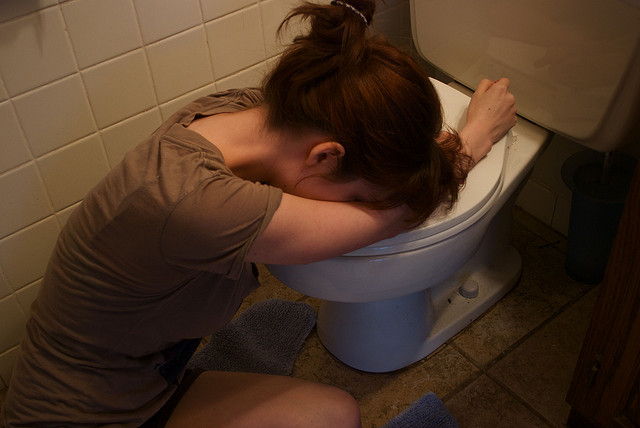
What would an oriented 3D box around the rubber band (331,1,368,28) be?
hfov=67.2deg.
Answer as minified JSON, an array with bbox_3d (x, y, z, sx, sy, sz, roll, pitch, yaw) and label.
[{"bbox_3d":[0.048,-0.330,0.783,0.049,0.013,0.041,37,24,-10],"label":"rubber band"}]

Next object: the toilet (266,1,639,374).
[{"bbox_3d":[0.299,-0.048,1.068,0.648,0.717,0.454,-33,54,-26],"label":"toilet"}]
